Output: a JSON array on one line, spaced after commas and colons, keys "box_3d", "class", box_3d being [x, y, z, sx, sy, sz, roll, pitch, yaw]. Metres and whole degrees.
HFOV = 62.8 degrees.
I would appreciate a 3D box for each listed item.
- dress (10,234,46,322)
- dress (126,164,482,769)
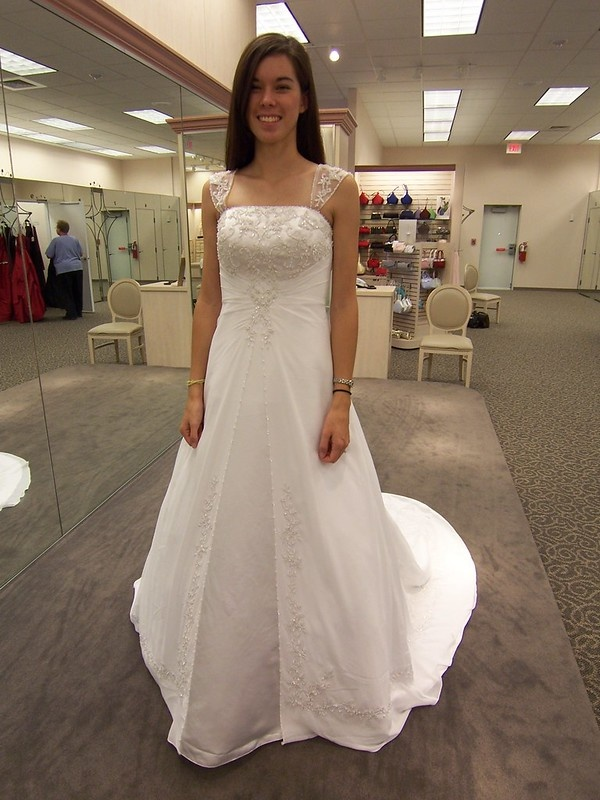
[{"box_3d": [-1.083, -0.479, 1.955, 0.068, 0.337, 0.142, 6, 13, 32], "class": "dress"}, {"box_3d": [0.093, 0.126, 1.344, 1.018, 1.427, 0.604, -8, 13, -31], "class": "dress"}]
